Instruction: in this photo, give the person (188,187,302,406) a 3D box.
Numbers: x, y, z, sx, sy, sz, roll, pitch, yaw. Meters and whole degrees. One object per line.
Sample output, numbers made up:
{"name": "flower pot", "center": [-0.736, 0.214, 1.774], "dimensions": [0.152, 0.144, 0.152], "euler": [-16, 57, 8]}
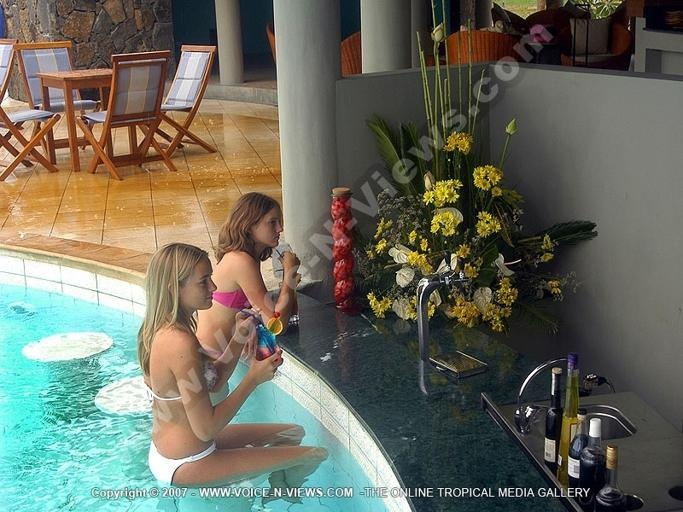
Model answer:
{"name": "person", "center": [-0.493, 0.232, 2.289], "dimensions": [0.448, 1.004, 0.477], "euler": [-12, 23, -42]}
